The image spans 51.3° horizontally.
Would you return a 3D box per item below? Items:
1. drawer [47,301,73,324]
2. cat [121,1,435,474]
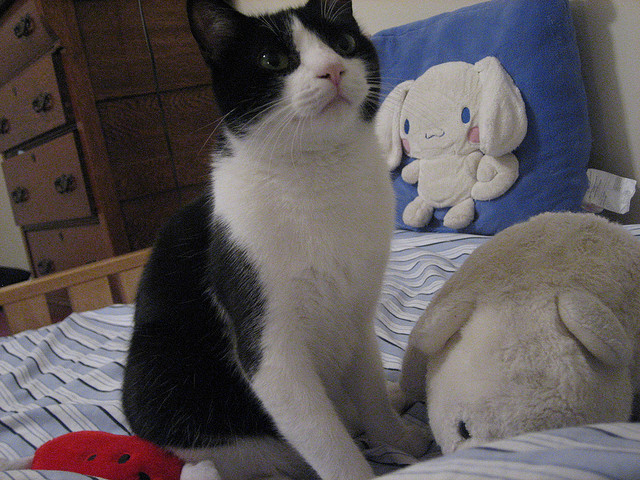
[{"bbox_3d":[-0.997,0.280,2.569,0.079,0.074,0.140,-6,9,-24],"label":"drawer"},{"bbox_3d":[-0.109,-0.001,1.311,0.588,0.939,0.340,-5,8,-15],"label":"cat"}]
